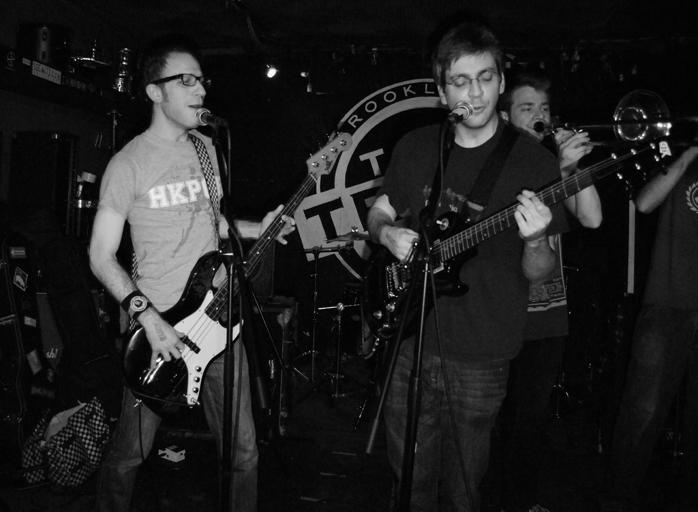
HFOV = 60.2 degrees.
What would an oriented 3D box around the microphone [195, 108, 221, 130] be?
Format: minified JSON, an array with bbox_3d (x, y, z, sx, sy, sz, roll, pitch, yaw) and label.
[{"bbox_3d":[-0.730,-0.718,3.127,0.111,0.132,0.342,0,5,-19],"label":"microphone"}]

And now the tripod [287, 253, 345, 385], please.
[{"bbox_3d":[-0.339,0.601,6.928,0.425,1.483,0.487,1,11,-9],"label":"tripod"}]

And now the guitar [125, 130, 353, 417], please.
[{"bbox_3d":[-0.668,0.128,3.315,1.059,1.453,0.308,-2,5,-30],"label":"guitar"}]

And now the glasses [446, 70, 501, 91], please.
[{"bbox_3d":[0.599,-0.852,2.919,0.245,0.086,0.061,2,5,6],"label":"glasses"}]

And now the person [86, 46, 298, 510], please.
[{"bbox_3d":[-0.967,-0.114,3.515,0.918,2.877,1.190,3,5,21],"label":"person"}]

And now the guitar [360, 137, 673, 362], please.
[{"bbox_3d":[1.022,-0.006,3.489,2.081,0.779,0.287,-28,-17,37],"label":"guitar"}]

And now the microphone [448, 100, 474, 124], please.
[{"bbox_3d":[0.497,-0.644,2.703,0.097,0.044,0.145,7,29,-22],"label":"microphone"}]

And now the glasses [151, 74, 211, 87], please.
[{"bbox_3d":[-0.917,-0.970,3.323,0.136,0.039,0.136,-5,6,9],"label":"glasses"}]
